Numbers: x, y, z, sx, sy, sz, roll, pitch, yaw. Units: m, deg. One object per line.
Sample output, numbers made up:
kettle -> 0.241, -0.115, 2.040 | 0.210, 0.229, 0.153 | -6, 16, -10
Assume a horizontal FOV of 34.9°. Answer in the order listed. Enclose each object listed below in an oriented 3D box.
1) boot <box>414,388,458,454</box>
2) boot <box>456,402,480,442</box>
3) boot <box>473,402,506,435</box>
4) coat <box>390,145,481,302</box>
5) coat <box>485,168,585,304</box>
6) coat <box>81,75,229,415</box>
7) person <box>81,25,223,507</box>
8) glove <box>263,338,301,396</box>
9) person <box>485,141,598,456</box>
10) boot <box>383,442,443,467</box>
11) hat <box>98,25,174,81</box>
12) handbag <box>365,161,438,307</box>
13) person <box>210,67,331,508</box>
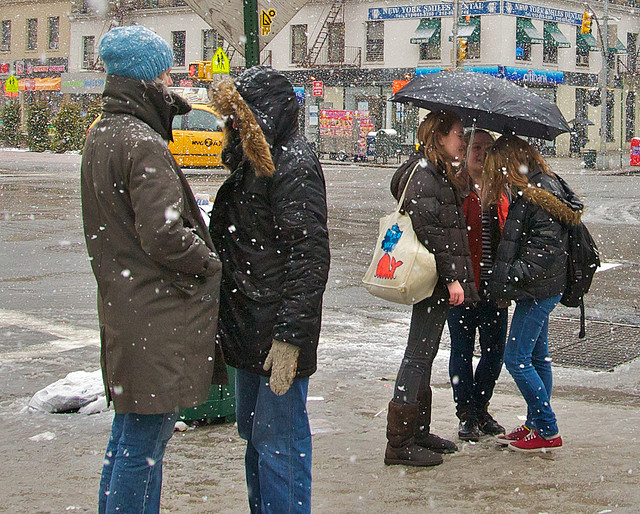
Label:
boot -> 0.746, 1.036, 6.470 | 0.279, 0.414, 0.156 | 2, 8, 5
boot -> 0.988, 1.090, 6.745 | 0.150, 0.218, 0.174 | 2, 9, 9
boot -> 1.121, 1.092, 6.863 | 0.256, 0.204, 0.088 | 3, -3, 36
coat -> 0.703, -0.174, 6.186 | 0.417, 1.109, 0.858 | -10, 2, -10
coat -> 1.417, -0.181, 6.719 | 0.540, 0.885, 0.840 | 3, 10, 4
coat -> -0.844, -0.070, 5.096 | 0.691, 1.656, 0.490 | -1, 8, -10
person -> -0.898, 0.115, 5.431 | 0.711, 2.662, 1.117 | -1, 9, -14
glove -> -0.197, 0.543, 5.117 | 0.189, 0.288, 0.092 | 2, 8, 8
person -> 1.415, 0.251, 6.557 | 0.673, 1.965, 0.561 | 2, 8, 7
boot -> 0.580, 1.208, 6.344 | 0.313, 0.151, 0.149 | -2, 0, -1
hat -> -0.913, -1.062, 5.195 | 0.356, 0.339, 0.303 | -8, 34, -14
handbag -> 0.493, -0.129, 6.197 | 0.489, 0.886, 0.257 | 9, 12, 44
person -> -0.255, 0.147, 5.319 | 0.480, 2.243, 0.654 | -6, 11, -40
